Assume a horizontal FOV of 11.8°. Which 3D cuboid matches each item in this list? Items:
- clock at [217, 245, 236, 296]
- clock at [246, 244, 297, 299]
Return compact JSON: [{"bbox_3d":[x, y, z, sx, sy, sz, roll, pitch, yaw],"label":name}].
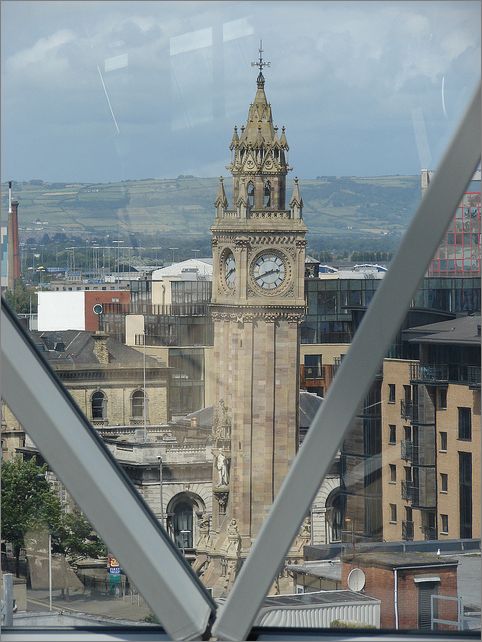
[{"bbox_3d":[-0.071,-0.297,13.603,0.014,0.304,0.259,1,1,27],"label":"clock"},{"bbox_3d":[0.165,-0.297,14.439,0.289,0.376,0.025,1,-34,0],"label":"clock"}]
